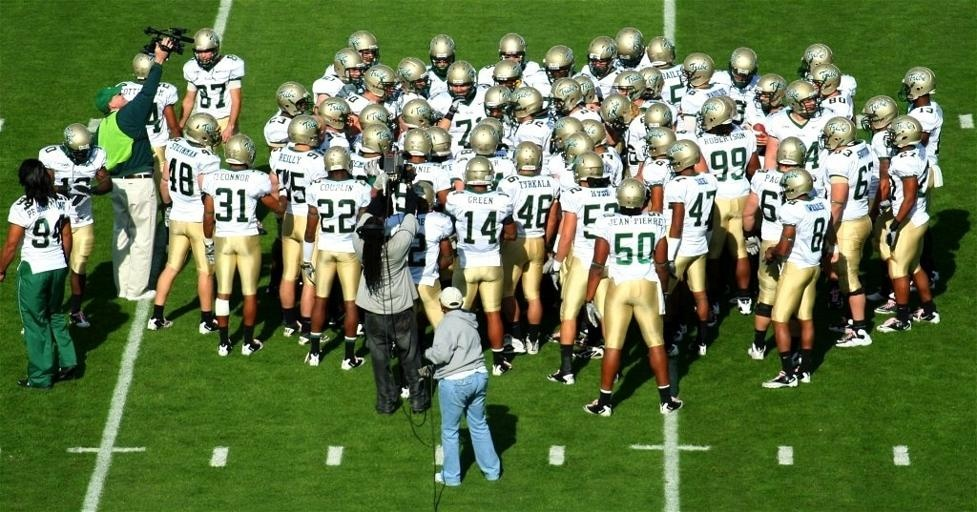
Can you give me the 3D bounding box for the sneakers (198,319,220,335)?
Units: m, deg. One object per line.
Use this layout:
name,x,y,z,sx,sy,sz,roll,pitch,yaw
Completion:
sneakers,-4.630,1.167,19.523,0.466,0.162,0.145,-6,15,-15

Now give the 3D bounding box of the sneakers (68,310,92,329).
sneakers,-6.814,1.027,19.630,0.476,0.180,0.208,18,33,27

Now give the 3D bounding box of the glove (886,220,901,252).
glove,6.629,-0.358,19.220,0.188,0.451,0.218,19,19,32

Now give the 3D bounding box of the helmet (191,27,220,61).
helmet,-5.068,-3.935,21.493,0.526,0.449,0.615,-2,18,1

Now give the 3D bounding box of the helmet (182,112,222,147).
helmet,-4.719,-2.070,19.254,0.698,0.478,0.500,1,18,-40

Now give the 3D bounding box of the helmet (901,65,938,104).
helmet,7.281,-2.928,19.994,0.666,0.512,0.474,1,14,16

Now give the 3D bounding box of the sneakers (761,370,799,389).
sneakers,4.548,1.932,18.564,0.697,0.256,0.230,-1,13,3

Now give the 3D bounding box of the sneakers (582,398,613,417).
sneakers,1.717,2.335,18.195,0.556,0.195,0.186,6,19,14

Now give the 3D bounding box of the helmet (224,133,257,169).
helmet,-3.964,-1.670,18.813,0.468,0.422,0.569,4,-1,11

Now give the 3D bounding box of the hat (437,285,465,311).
hat,-0.518,0.602,16.990,0.278,0.322,0.212,-6,25,-10

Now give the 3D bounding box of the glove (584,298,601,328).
glove,1.706,0.922,18.676,0.206,0.595,0.409,5,26,14

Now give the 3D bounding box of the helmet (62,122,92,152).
helmet,-6.597,-1.935,18.853,0.417,0.432,0.419,-3,-7,-24

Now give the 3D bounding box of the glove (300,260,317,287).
glove,-2.884,0.256,19.044,0.374,0.347,0.947,0,11,-8

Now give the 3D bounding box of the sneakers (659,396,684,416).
sneakers,2.839,2.303,18.148,0.415,0.164,0.194,-26,43,-37

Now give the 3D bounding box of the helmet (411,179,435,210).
helmet,-1.004,-0.964,18.422,0.324,0.425,0.291,-4,25,-4

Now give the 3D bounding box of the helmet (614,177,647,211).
helmet,2.156,-0.946,17.748,0.449,0.361,0.490,4,31,5

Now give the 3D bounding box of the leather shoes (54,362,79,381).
leather shoes,-6.654,1.825,18.769,0.198,0.219,0.416,21,31,40

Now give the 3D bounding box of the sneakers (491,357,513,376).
sneakers,0.223,1.775,18.849,0.182,0.211,0.448,9,12,42

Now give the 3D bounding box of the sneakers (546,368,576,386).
sneakers,1.176,1.905,18.676,0.536,0.197,0.193,9,17,34

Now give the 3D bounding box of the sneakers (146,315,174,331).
sneakers,-5.462,1.110,19.574,0.470,0.167,0.167,-8,19,-31

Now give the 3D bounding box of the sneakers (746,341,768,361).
sneakers,4.345,1.526,18.977,0.311,0.252,0.299,2,10,5

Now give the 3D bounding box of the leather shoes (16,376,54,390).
leather shoes,-7.172,2.004,18.642,0.653,0.163,0.241,4,0,-2
